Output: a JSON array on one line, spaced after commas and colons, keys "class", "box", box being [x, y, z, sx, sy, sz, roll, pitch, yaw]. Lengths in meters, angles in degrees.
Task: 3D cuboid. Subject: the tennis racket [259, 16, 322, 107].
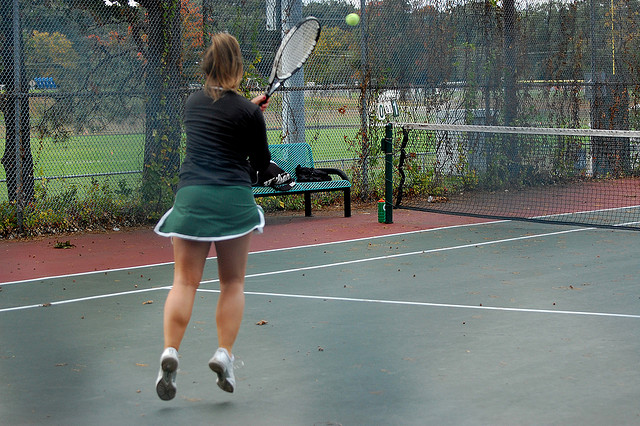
[{"class": "tennis racket", "box": [-0.293, -1.748, 7.415, 0.305, 0.649, 0.833, 7, 14, 36]}]

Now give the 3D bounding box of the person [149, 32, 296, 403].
[{"class": "person", "box": [-0.785, -0.013, 5.515, 1.022, 2.753, 0.821, -3, 11, -12]}]

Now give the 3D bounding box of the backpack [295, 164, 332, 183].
[{"class": "backpack", "box": [-0.122, -0.699, 12.300, 0.577, 0.324, 0.372, -1, 11, -3]}]

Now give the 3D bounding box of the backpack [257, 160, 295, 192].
[{"class": "backpack", "box": [-0.366, -0.334, 5.993, 0.225, 0.235, 0.512, -13, 12, -35]}]

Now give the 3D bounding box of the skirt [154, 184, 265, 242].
[{"class": "skirt", "box": [-0.871, -0.040, 5.685, 0.961, 0.546, 0.523, 0, 12, -19]}]

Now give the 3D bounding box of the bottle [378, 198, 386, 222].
[{"class": "bottle", "box": [1.075, -0.046, 12.008, 0.162, 0.372, 0.069, 6, 13, 34]}]

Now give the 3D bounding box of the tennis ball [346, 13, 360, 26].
[{"class": "tennis ball", "box": [0.669, -3.888, 13.902, 0.223, 0.228, 0.219, -7, -32, -4]}]

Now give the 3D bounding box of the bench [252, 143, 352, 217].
[{"class": "bench", "box": [-0.290, -0.493, 12.274, 0.957, 1.465, 2.268, 2, 6, 27]}]
